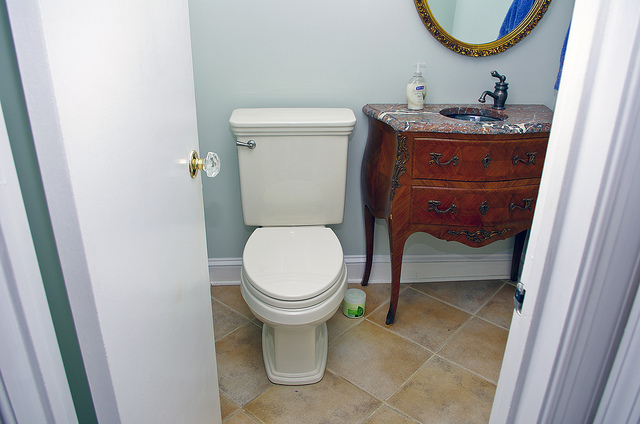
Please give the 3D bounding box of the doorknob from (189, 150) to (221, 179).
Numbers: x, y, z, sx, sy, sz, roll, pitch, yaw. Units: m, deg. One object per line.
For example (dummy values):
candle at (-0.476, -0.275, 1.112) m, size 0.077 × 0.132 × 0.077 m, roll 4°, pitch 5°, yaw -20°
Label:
doorknob at (-0.301, -0.122, 1.133) m, size 0.081 × 0.074 × 0.060 m, roll -1°, pitch 3°, yaw -6°

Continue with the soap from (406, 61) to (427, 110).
soap at (0.453, -0.586, 2.058) m, size 0.090 × 0.207 × 0.065 m, roll -2°, pitch 23°, yaw -3°

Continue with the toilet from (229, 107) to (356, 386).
toilet at (-0.074, 0.110, 1.960) m, size 0.562 × 1.008 × 0.815 m, roll -5°, pitch 23°, yaw -9°
